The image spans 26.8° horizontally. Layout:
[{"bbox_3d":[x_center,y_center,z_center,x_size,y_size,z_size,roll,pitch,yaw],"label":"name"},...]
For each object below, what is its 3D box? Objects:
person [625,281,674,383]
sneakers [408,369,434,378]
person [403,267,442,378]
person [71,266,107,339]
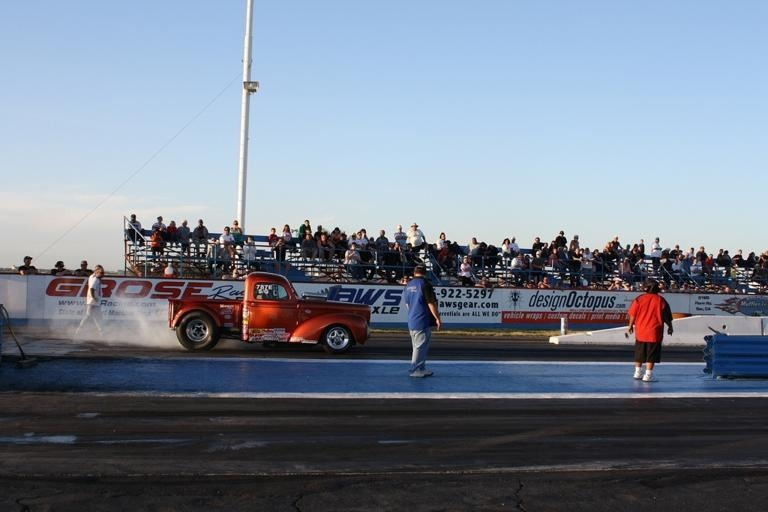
[{"bbox_3d":[6.011,1.726,36.939,1.294,2.134,1.219,-1,0,1],"label":"person"},{"bbox_3d":[0.868,2.681,36.637,0.577,0.174,0.176,-1,-4,-1],"label":"sneakers"},{"bbox_3d":[0.854,1.472,36.580,0.819,2.435,1.459,4,-1,0],"label":"person"},{"bbox_3d":[-7.779,1.189,43.303,0.647,1.878,0.797,4,-1,-10],"label":"person"}]
